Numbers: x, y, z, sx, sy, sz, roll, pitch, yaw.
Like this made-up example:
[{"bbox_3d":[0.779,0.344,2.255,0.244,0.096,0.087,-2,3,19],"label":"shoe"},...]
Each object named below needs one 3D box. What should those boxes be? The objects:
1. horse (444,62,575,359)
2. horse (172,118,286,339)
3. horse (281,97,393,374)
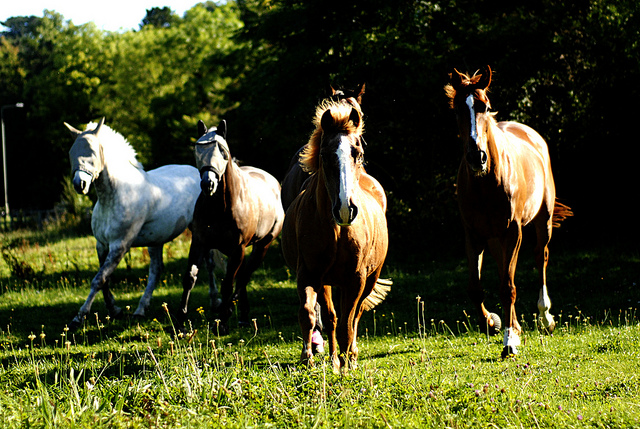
[{"bbox_3d":[4.509,-0.337,23.056,2.421,6.649,3.765,2,12,21],"label":"horse"},{"bbox_3d":[-2.250,0.338,23.892,1.327,5.521,3.417,6,13,35],"label":"horse"},{"bbox_3d":[0.410,0.465,20.973,2.036,5.880,2.292,0,11,12],"label":"horse"}]
